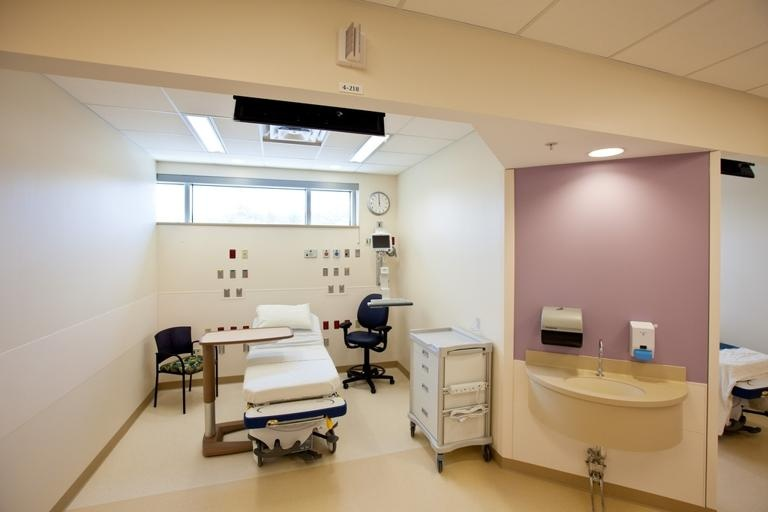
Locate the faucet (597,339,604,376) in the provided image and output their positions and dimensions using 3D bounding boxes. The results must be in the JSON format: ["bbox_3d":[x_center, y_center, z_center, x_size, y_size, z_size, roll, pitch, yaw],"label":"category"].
[{"bbox_3d":[2.077,0.977,4.894,0.061,0.336,0.136,1,3,23],"label":"faucet"}]

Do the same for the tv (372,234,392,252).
[{"bbox_3d":[-0.044,-0.167,7.012,0.347,0.302,0.194,0,-3,-10],"label":"tv"}]

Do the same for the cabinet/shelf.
[{"bbox_3d":[0.670,1.561,5.709,0.759,1.127,1.031,1,-3,-32],"label":"cabinet/shelf"}]

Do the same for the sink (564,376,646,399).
[{"bbox_3d":[2.004,1.236,4.640,0.695,0.140,0.462,1,2,13],"label":"sink"}]

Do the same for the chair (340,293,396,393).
[{"bbox_3d":[-0.259,1.219,7.172,0.755,1.202,0.758,-5,10,-34],"label":"chair"}]

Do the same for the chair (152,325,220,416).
[{"bbox_3d":[-2.520,1.445,6.553,0.670,0.943,0.673,1,7,8],"label":"chair"}]

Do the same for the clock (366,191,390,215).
[{"bbox_3d":[-0.105,-0.796,7.692,0.382,0.364,0.061,1,-5,-28],"label":"clock"}]

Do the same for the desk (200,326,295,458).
[{"bbox_3d":[-1.533,1.522,5.720,1.035,1.169,0.714,0,1,-19],"label":"desk"}]

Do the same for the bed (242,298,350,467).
[{"bbox_3d":[-1.118,1.444,6.040,1.043,1.204,2.362,-1,11,-16],"label":"bed"}]
